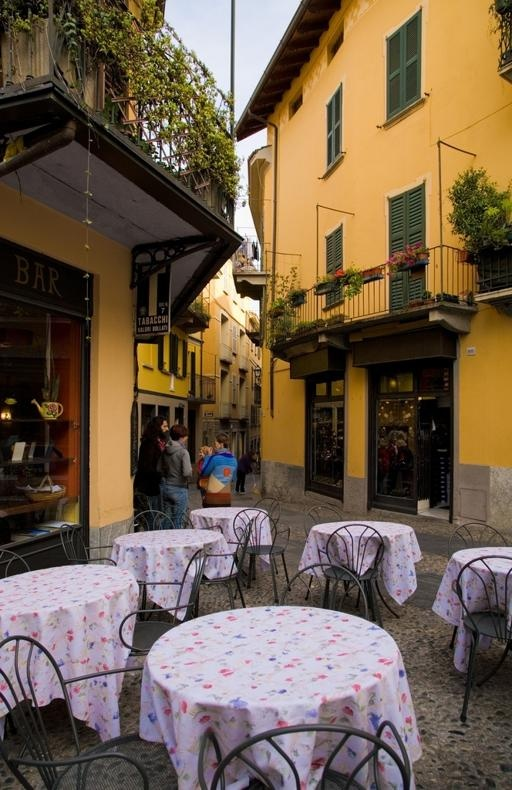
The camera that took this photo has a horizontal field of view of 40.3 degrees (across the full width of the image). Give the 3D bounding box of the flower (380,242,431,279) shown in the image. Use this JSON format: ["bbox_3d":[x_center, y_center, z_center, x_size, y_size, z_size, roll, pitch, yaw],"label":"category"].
[{"bbox_3d":[2.227,-1.948,10.061,0.479,0.386,0.587,-22,16,-28],"label":"flower"}]

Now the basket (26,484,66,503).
[{"bbox_3d":[-1.943,0.906,6.353,0.207,0.088,0.224,2,0,-44],"label":"basket"}]

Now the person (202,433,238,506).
[{"bbox_3d":[-0.452,0.889,8.021,0.411,0.826,0.643,0,-1,-5],"label":"person"}]
